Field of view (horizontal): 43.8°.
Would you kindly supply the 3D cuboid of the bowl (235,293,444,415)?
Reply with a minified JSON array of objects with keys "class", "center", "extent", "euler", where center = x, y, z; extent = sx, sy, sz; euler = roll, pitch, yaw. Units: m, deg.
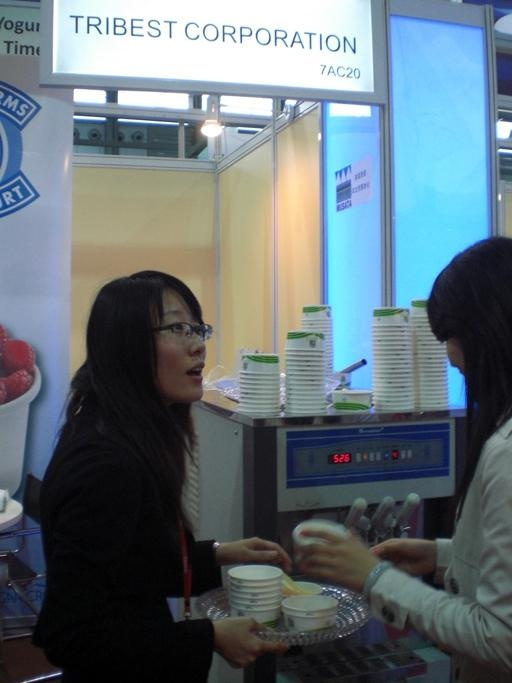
[{"class":"bowl","center":[0.334,0.063,2.075],"extent":[0.525,0.412,0.295],"euler":[-2,0,4]}]

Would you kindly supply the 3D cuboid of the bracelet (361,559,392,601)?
[{"class":"bracelet","center":[0.218,0.436,1.174],"extent":[0.025,0.064,0.056],"euler":[29,5,17]}]

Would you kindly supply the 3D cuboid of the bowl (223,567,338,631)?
[{"class":"bowl","center":[0.051,0.530,1.345],"extent":[0.190,0.065,0.117],"euler":[0,2,16]}]

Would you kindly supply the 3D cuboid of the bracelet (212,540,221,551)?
[{"class":"bracelet","center":[-0.094,0.486,1.517],"extent":[0.008,0.022,0.011],"euler":[-1,-4,-24]}]
